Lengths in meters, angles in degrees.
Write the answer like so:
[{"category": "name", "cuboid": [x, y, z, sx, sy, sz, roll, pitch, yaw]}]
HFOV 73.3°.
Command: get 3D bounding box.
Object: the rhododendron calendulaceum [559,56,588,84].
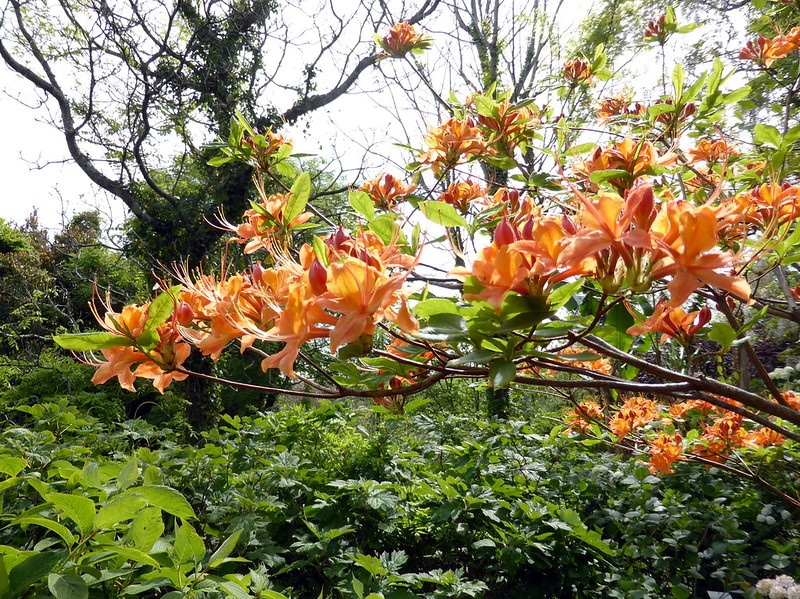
[{"category": "rhododendron calendulaceum", "cuboid": [1.256, -1.683, 3.908, 0.216, 0.130, 0.201, 1, 7, 2]}]
